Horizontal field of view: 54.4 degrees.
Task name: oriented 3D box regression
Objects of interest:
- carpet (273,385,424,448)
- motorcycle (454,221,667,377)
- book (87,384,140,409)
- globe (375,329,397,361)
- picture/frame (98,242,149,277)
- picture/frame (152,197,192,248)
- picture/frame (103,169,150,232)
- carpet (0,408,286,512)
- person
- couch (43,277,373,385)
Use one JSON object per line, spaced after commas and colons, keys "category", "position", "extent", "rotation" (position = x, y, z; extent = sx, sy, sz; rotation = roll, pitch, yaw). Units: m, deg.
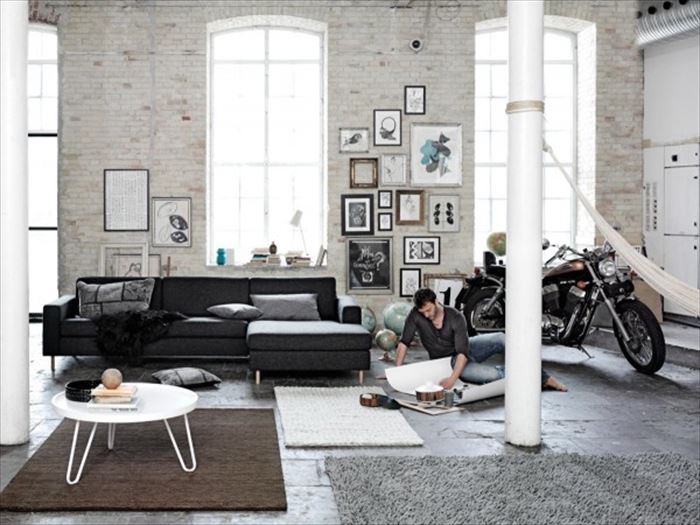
{"category": "carpet", "position": [-0.079, 1.247, 5.643], "extent": [1.034, 0.043, 1.496], "rotation": [-1, 7, -10]}
{"category": "motorcycle", "position": [2.384, 0.428, 7.954], "extent": [2.598, 1.409, 1.285], "rotation": [2, 3, 40]}
{"category": "book", "position": [-1.573, 0.892, 4.503], "extent": [0.313, 0.115, 0.274], "rotation": [-1, 7, -14]}
{"category": "globe", "position": [0.418, 0.953, 7.900], "extent": [0.258, 0.348, 0.258], "rotation": [2, -2, -14]}
{"category": "picture/frame", "position": [-3.063, -0.021, 9.136], "extent": [0.466, 0.425, 0.034], "rotation": [0, -2, 2]}
{"category": "picture/frame", "position": [-2.458, -0.548, 9.231], "extent": [0.703, 0.826, 0.031], "rotation": [0, -2, -6]}
{"category": "picture/frame", "position": [-3.061, -0.861, 9.193], "extent": [0.857, 1.128, 0.043], "rotation": [1, 2, -3]}
{"category": "carpet", "position": [-1.365, 1.357, 4.779], "extent": [1.731, 0.091, 1.690], "rotation": [-1, 7, -9]}
{"category": "person", "position": [1.135, 0.636, 6.174], "extent": [1.572, 1.025, 0.978], "rotation": [5, 27, 25]}
{"category": "couch", "position": [-1.476, 0.672, 7.413], "extent": [3.466, 0.870, 1.697], "rotation": [1, 7, 6]}
